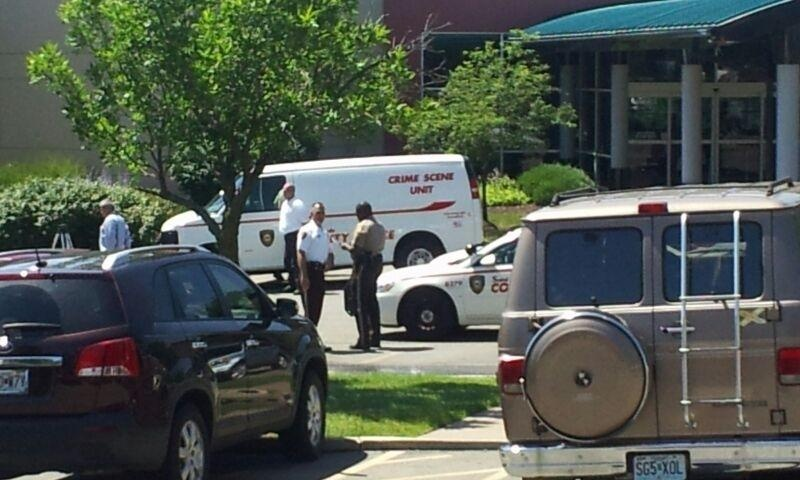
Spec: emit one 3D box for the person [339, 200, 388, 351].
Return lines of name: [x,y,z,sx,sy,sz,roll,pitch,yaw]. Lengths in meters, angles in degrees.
person: [-0.570,0.659,21.872,0.688,2.607,0.585,-4,3,-3]

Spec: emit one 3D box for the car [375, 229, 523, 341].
car: [1.009,0.928,23.101,3.034,1.340,1.452,-3,4,8]

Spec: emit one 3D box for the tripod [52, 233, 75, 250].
tripod: [-7.227,0.029,26.793,0.433,0.551,0.431,1,-5,-11]

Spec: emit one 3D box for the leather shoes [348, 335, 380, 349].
leather shoes: [-0.644,1.841,22.080,0.594,0.251,0.200,3,1,-6]
